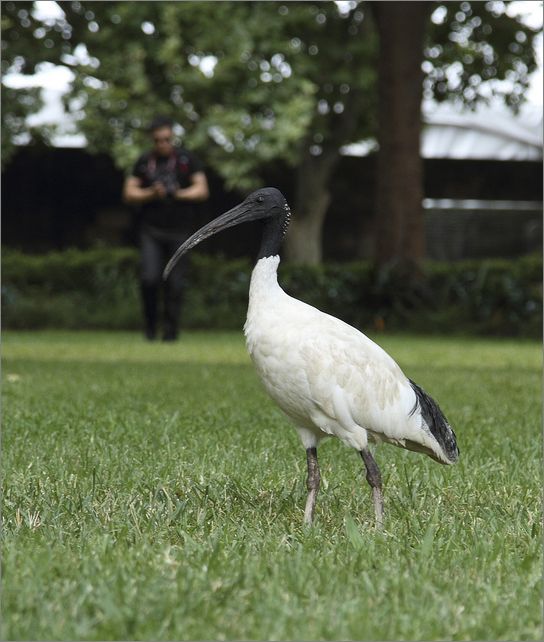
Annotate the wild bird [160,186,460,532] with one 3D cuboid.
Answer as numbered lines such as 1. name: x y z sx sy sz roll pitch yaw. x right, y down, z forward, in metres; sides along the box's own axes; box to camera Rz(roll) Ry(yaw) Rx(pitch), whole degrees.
1. wild bird: 0.197 0.102 4.238 1.004 1.313 0.669 6 12 35
